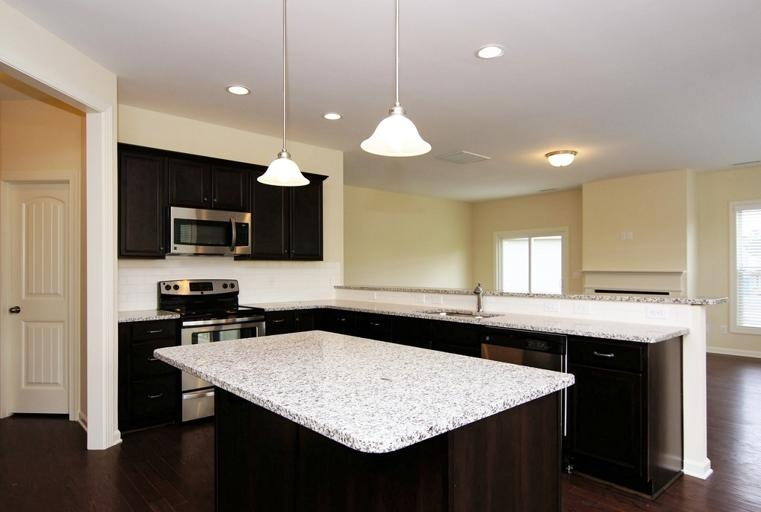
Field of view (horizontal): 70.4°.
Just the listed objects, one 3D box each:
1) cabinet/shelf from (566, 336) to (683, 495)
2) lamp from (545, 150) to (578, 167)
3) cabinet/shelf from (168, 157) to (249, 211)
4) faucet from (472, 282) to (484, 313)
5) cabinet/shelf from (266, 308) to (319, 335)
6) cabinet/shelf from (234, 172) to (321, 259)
[{"bbox_3d":[1.997,1.222,4.205,0.974,1.167,0.372,-1,5,-2],"label":"cabinet/shelf"},{"bbox_3d":[2.267,-1.237,6.771,0.254,0.120,0.249,-2,3,-36],"label":"lamp"},{"bbox_3d":[-1.924,-0.736,5.759,0.855,0.511,0.423,1,-2,-42],"label":"cabinet/shelf"},{"bbox_3d":[0.978,0.404,5.302,0.105,0.324,0.425,0,5,11],"label":"faucet"},{"bbox_3d":[-0.987,0.702,5.888,0.439,0.283,0.261,0,1,-38],"label":"cabinet/shelf"},{"bbox_3d":[-1.171,-0.448,6.309,0.985,1.028,0.500,2,-4,-34],"label":"cabinet/shelf"}]
